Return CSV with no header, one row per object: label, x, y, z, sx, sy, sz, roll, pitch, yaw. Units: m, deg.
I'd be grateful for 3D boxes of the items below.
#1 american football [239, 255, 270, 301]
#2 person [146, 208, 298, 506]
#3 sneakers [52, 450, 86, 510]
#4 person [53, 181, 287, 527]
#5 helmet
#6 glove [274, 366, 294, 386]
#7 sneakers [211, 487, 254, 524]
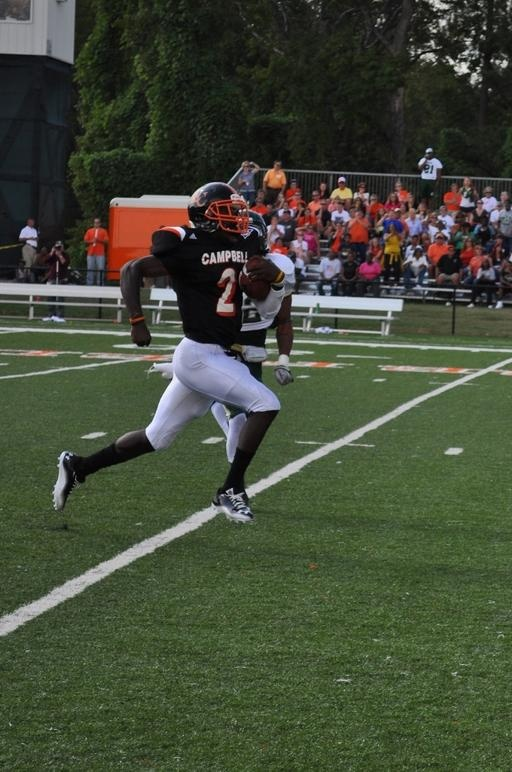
american football,-0.003,-0.506,5.029,0.160,0.145,0.189,13,-12,8
person,-0.054,-0.115,5.564,0.695,1.310,0.770,14,-9,-33
sneakers,-0.905,0.441,5.295,0.182,0.304,0.113,10,0,1
person,-0.332,-0.153,5.111,0.858,1.640,0.595,0,7,-26
helmet,-0.030,-0.794,5.076,0.452,0.262,0.292,11,11,15
glove,0.130,-0.055,5.222,0.082,0.090,0.056,-12,6,3
sneakers,-0.100,0.564,5.224,0.101,0.126,0.278,-3,14,-39
